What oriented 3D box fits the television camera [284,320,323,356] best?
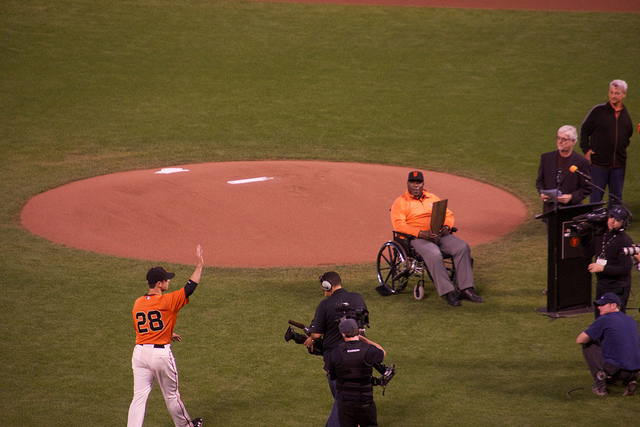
[{"bbox_3d":[-0.447,3.126,34.166,0.899,1.001,0.471,-6,8,-2],"label":"television camera"}]

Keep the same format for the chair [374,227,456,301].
[{"bbox_3d":[2.710,1.196,37.908,1.669,1.992,1.957,-11,14,-42],"label":"chair"}]

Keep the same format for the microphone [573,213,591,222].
[{"bbox_3d":[6.934,0.116,36.140,0.577,0.134,0.143,-26,27,-22],"label":"microphone"}]

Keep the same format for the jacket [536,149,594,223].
[{"bbox_3d":[6.517,-0.643,37.231,1.680,1.800,1.100,7,17,15],"label":"jacket"}]

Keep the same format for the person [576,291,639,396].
[{"bbox_3d":[7.322,3.381,34.558,1.396,2.569,0.457,-4,9,11],"label":"person"}]

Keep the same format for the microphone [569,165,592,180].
[{"bbox_3d":[6.950,-1.075,36.802,0.564,0.162,0.171,24,32,15],"label":"microphone"}]

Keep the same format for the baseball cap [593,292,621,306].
[{"bbox_3d":[7.218,2.196,34.598,0.567,0.243,0.328,-1,0,7],"label":"baseball cap"}]
